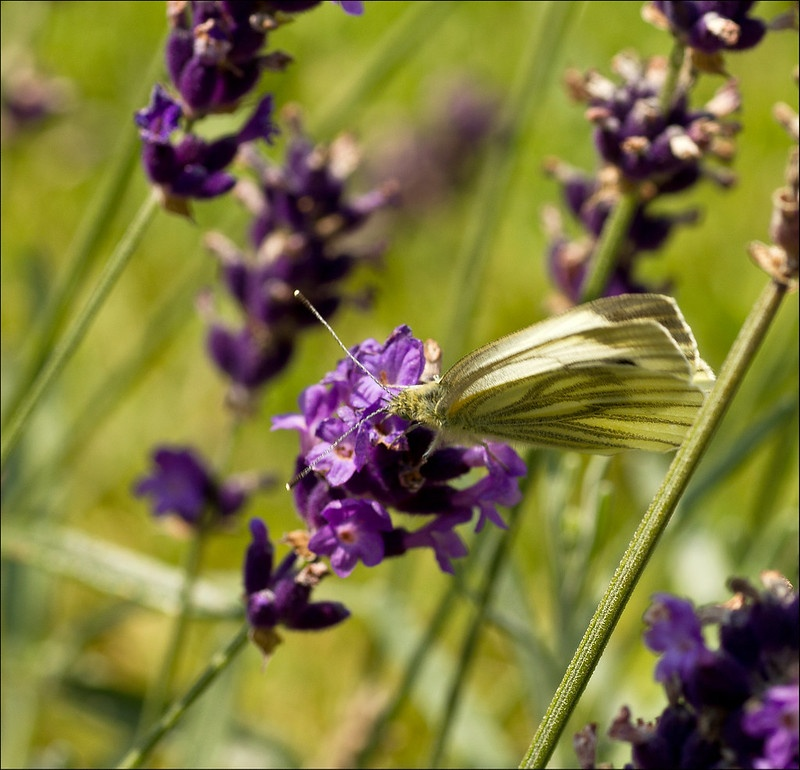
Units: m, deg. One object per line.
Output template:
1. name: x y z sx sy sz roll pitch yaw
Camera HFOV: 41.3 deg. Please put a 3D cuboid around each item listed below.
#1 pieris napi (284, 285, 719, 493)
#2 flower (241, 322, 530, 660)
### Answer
1. pieris napi: 0.390 -0.004 2.582 0.703 0.527 0.614 0 0 14
2. flower: -0.073 0.232 2.237 0.623 0.618 0.282 -40 -55 -8
